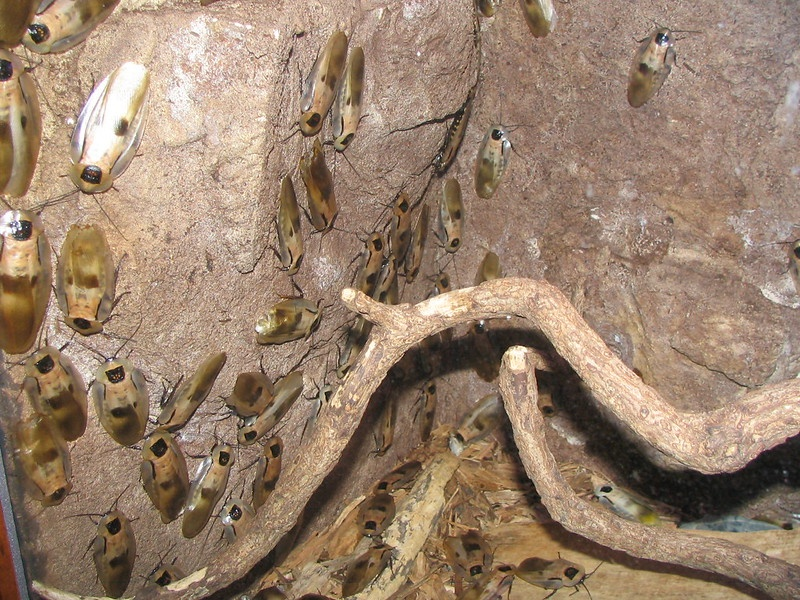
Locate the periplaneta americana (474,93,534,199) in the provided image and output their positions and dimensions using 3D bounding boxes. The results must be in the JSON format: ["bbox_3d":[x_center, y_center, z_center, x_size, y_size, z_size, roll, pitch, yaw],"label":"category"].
[{"bbox_3d":[0.705,-1.003,6.227,0.263,0.484,0.140,27,35,21],"label":"periplaneta americana"}]
